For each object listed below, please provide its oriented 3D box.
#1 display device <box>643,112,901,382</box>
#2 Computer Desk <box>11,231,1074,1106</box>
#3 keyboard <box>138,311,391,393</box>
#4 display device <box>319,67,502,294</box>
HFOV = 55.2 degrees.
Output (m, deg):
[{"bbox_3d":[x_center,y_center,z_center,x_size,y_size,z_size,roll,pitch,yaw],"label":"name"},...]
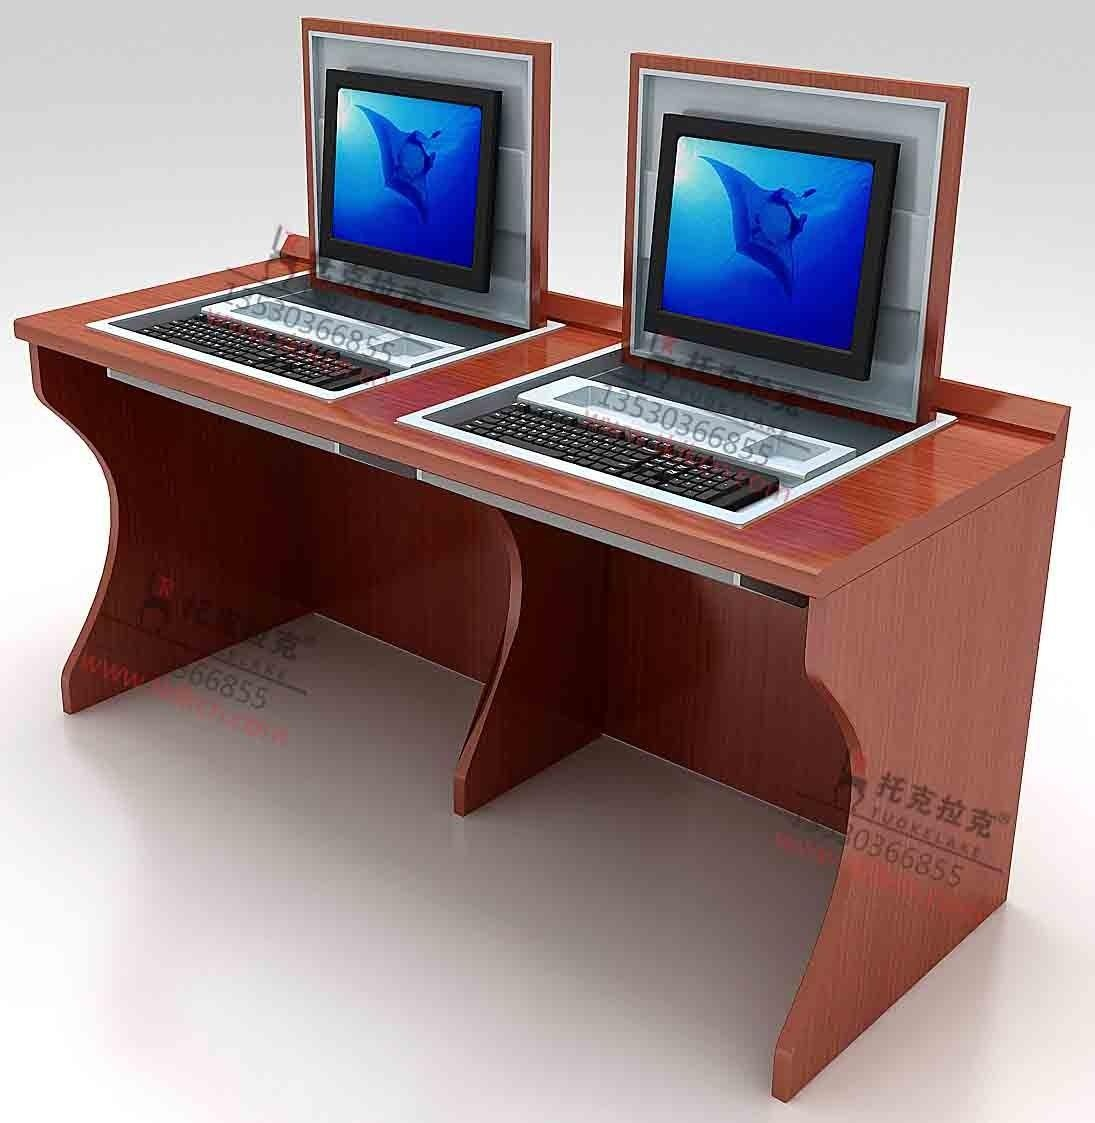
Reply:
[{"bbox_3d":[0.330,-0.485,1.590,0.035,0.328,0.427,-22,35,-36],"label":"display device"},{"bbox_3d":[-0.150,0.000,1.933,1.804,1.043,0.847,15,16,37],"label":"Computer Desk"},{"bbox_3d":[-0.510,-0.381,1.886,0.569,0.093,0.194,16,16,40],"label":"keyboard"},{"bbox_3d":[-0.279,-0.765,2.081,0.478,0.362,0.046,24,30,33],"label":"display device"}]
